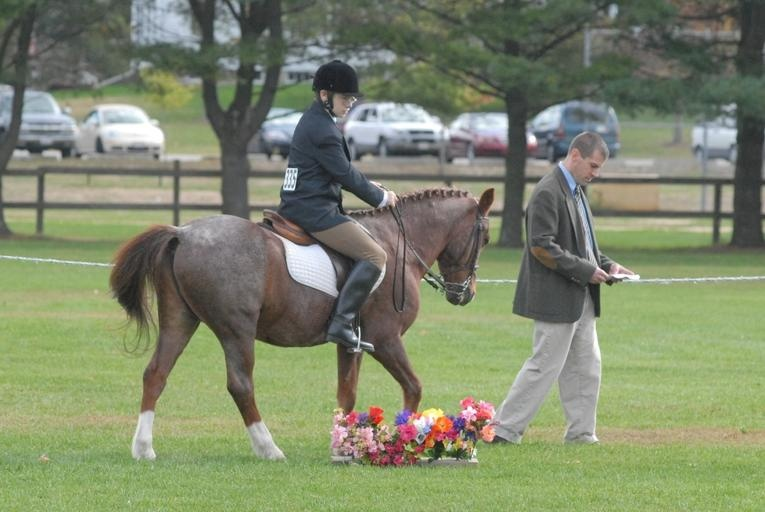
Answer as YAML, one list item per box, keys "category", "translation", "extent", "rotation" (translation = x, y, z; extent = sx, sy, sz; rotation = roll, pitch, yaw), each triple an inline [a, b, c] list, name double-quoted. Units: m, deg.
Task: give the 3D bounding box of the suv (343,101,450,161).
- category: "suv"
  translation: [0.274, -3.306, 56.202]
  extent: [1.477, 1.021, 2.414]
  rotation: [-1, 2, -37]

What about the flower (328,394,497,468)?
- category: "flower"
  translation: [0.443, 2.525, 32.044]
  extent: [1.724, 0.923, 1.916]
  rotation: [-4, 0, 35]
